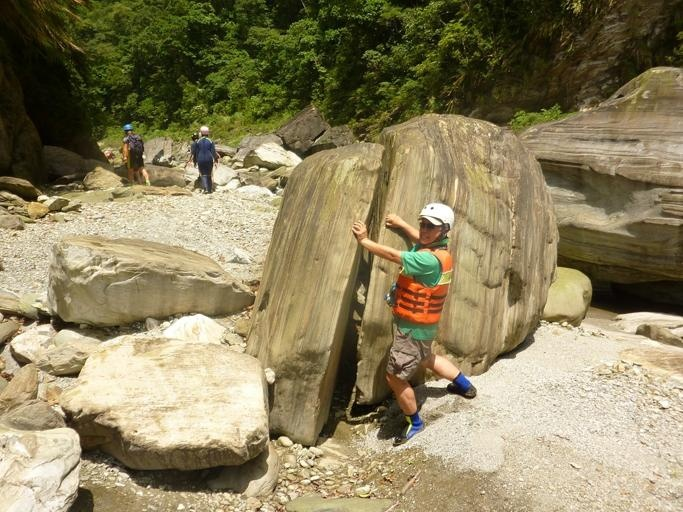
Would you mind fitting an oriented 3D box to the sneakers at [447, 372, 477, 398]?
[{"bbox_3d":[1.021,1.084,4.473,0.150,0.110,0.266,-7,16,-14],"label":"sneakers"}]

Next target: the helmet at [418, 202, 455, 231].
[{"bbox_3d":[0.769,-0.331,4.255,0.187,0.127,0.266,13,-6,45],"label":"helmet"}]

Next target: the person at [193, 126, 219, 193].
[{"bbox_3d":[-2.842,-2.007,11.138,0.476,1.260,1.179,-5,21,-13],"label":"person"}]

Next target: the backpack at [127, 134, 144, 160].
[{"bbox_3d":[-4.634,-2.401,11.865,0.327,0.564,0.417,-6,27,-7],"label":"backpack"}]

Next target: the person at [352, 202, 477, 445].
[{"bbox_3d":[0.632,0.489,4.430,0.785,1.808,0.836,-10,23,-25],"label":"person"}]

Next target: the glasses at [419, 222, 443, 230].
[{"bbox_3d":[0.726,-0.239,4.221,0.192,0.075,0.059,4,21,10],"label":"glasses"}]
